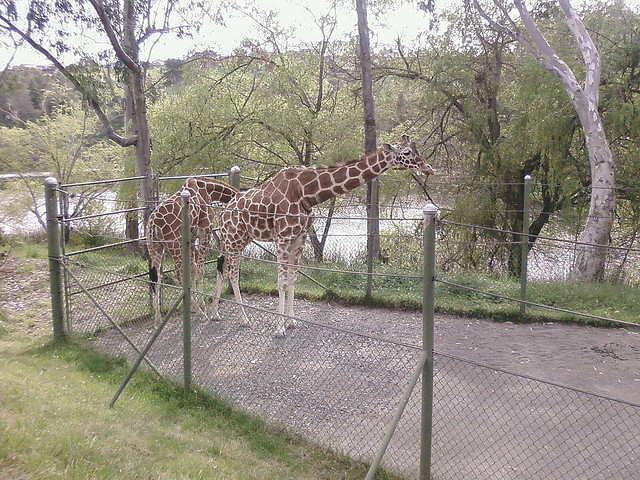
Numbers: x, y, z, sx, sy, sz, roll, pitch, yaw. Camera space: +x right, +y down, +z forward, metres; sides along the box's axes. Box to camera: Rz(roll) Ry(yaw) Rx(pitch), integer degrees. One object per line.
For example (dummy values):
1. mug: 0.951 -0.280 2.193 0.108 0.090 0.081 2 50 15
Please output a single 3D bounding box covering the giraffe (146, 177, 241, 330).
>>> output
1. giraffe: -2.186 0.092 10.340 0.732 2.488 2.937 2 7 18
